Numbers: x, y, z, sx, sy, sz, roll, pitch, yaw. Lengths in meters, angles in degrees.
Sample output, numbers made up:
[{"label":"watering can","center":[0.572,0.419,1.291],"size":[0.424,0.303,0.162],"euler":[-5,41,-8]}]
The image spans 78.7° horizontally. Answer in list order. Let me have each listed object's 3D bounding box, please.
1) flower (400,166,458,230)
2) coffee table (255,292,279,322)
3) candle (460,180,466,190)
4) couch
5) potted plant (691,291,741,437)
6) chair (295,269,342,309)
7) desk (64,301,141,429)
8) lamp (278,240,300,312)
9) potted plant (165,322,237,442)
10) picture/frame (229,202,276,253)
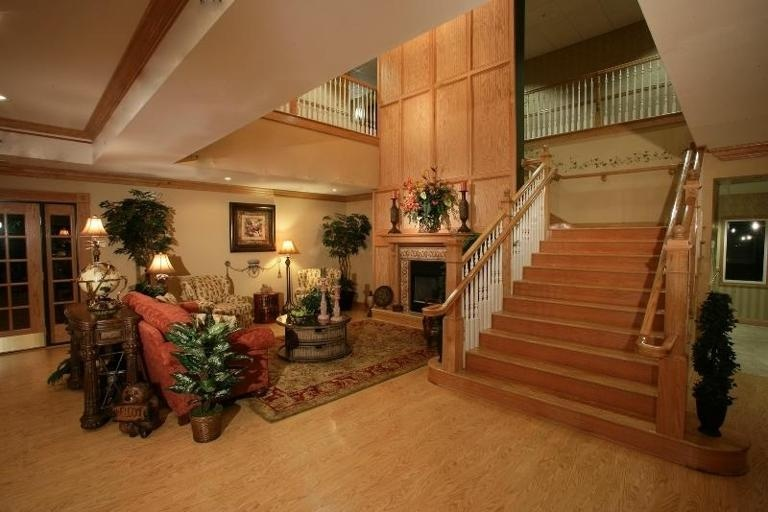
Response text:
[{"label":"flower","center":[0.856,-1.112,9.283],"size":[1.306,1.342,1.149],"euler":[5,7,37]},{"label":"coffee table","center":[-2.405,1.036,9.757],"size":[0.593,0.546,0.587],"euler":[1,3,21]},{"label":"candle","center":[1.444,-1.279,8.451],"size":[0.112,0.198,0.487],"euler":[-1,5,10]},{"label":"couch","center":[-3.108,0.754,8.804],"size":[1.178,1.292,1.149],"euler":[-3,-3,30]},{"label":"potted plant","center":[3.548,1.151,5.042],"size":[0.518,1.497,0.392],"euler":[-7,6,-44]},{"label":"chair","center":[-1.428,0.542,9.762],"size":[1.001,0.945,0.849],"euler":[1,-15,1]},{"label":"desk","center":[-3.418,1.337,5.726],"size":[0.636,1.137,1.360],"euler":[-5,9,-33]},{"label":"lamp","center":[-2.026,0.380,10.047],"size":[0.378,1.476,1.168],"euler":[-3,5,-11]},{"label":"potted plant","center":[-2.109,1.407,5.520],"size":[0.767,1.357,0.597],"euler":[-5,5,-29]},{"label":"picture/frame","center":[-2.813,-0.627,9.867],"size":[1.096,1.121,0.123],"euler":[-2,1,-42]}]
